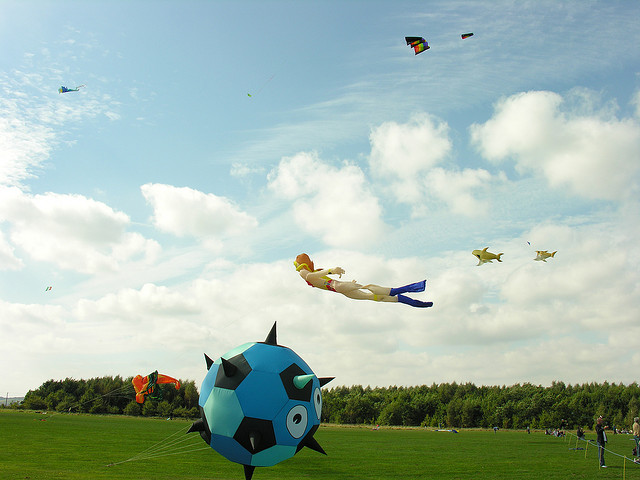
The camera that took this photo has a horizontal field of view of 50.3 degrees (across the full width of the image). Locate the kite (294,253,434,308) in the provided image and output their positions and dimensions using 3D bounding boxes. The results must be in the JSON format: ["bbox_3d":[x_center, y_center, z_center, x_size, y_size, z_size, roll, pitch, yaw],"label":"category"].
[{"bbox_3d":[2.606,3.458,48.345,6.776,1.848,5.390,8,9,16],"label":"kite"}]
